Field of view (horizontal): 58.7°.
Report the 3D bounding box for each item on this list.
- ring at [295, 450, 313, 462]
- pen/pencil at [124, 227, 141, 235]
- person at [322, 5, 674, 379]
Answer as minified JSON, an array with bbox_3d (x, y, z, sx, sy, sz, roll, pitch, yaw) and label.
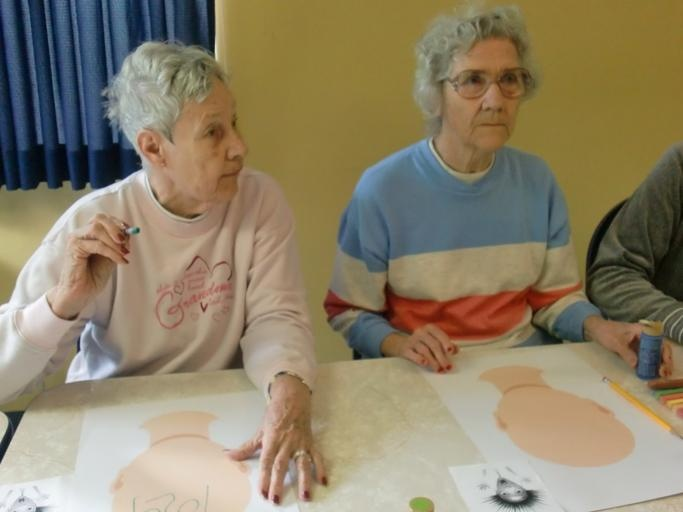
[{"bbox_3d":[-0.091,0.461,1.412,0.026,0.010,0.027,7,33,-5],"label":"ring"},{"bbox_3d":[-0.541,-0.070,1.575,0.022,0.024,0.082,21,-13,-29],"label":"pen/pencil"},{"bbox_3d":[0.607,-0.276,2.376,1.081,1.659,1.024,-12,21,-19],"label":"person"}]
